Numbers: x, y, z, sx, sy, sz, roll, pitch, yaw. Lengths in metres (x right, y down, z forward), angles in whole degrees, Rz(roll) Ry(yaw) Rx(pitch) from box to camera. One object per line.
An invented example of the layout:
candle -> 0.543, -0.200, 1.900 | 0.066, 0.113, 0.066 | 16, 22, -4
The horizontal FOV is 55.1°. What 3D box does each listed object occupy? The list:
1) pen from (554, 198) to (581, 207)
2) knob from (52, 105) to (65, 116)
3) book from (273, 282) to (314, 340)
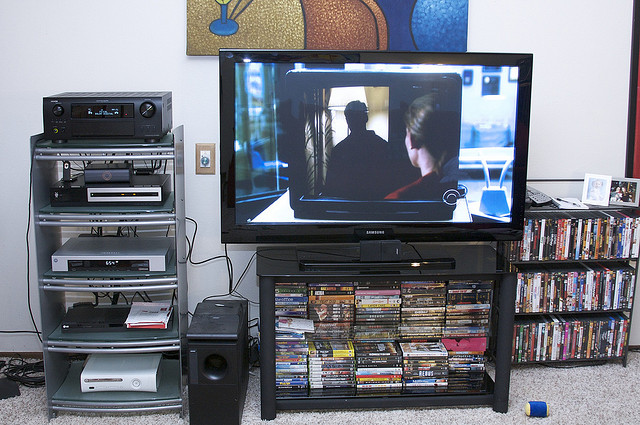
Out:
pen -> 1.673, -0.067, 4.131 | 0.195, 0.022, 0.020 | 13, -22, -10
knob -> -1.505, -0.587, 3.521 | 0.061, 0.061, 0.015 | -2, 12, 1
book -> -0.223, 0.615, 3.861 | 0.088, 0.331, 0.360 | -3, -3, 29
